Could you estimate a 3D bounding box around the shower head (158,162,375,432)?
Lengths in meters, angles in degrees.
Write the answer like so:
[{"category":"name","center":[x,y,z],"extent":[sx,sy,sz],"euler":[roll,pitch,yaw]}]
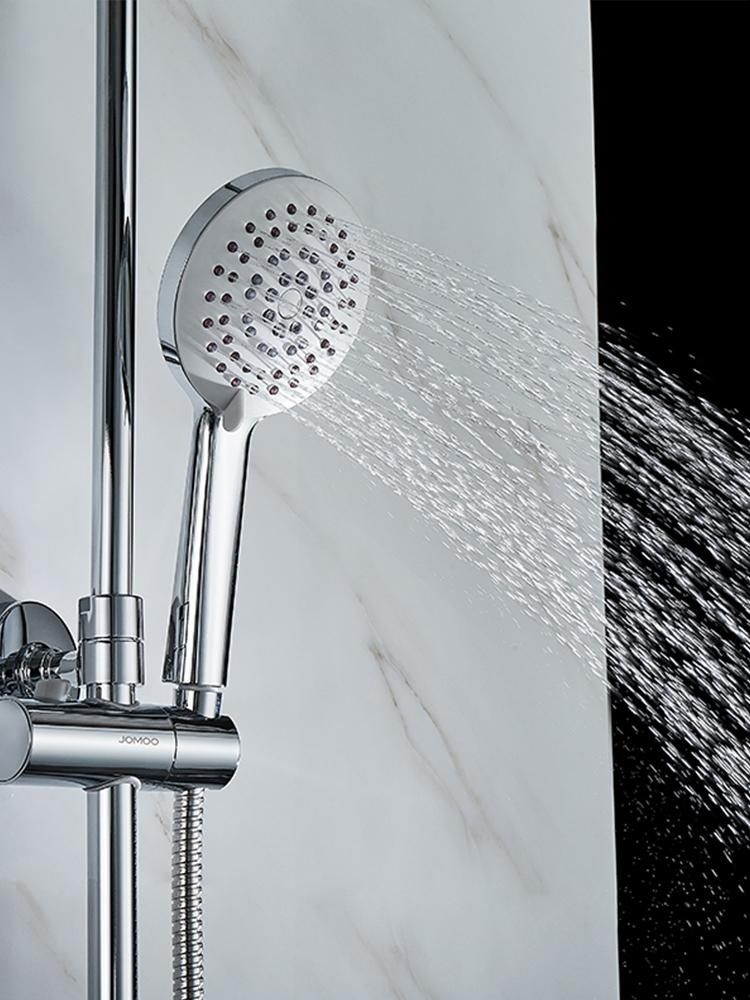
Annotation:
[{"category":"shower head","center":[-0.052,-0.099,0.608],"extent":[0.098,0.081,0.106],"euler":[-11,-40,1]}]
